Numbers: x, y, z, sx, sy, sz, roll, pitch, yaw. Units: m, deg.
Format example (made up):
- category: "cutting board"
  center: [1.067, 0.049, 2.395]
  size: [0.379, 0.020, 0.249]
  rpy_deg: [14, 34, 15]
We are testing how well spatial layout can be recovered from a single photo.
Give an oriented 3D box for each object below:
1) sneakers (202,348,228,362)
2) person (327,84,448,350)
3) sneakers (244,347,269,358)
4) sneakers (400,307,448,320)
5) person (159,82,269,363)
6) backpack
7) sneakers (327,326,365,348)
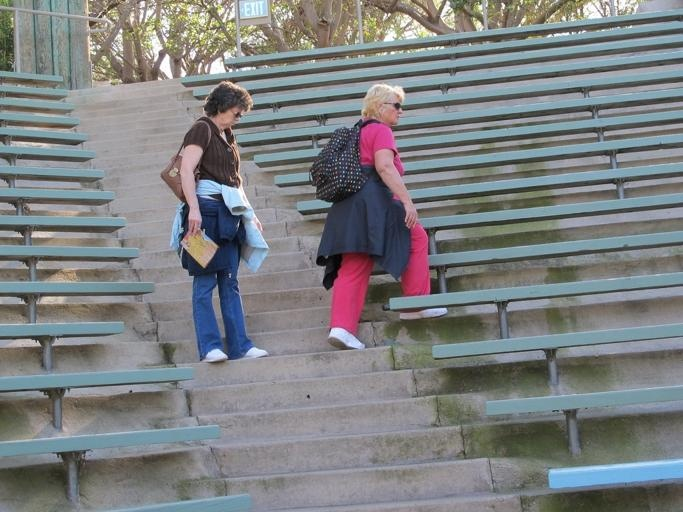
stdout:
- category: "sneakers"
  center: [-0.799, 0.621, 5.251]
  size: [0.153, 0.094, 0.080]
  rpy_deg: [-2, 10, -10]
- category: "person"
  center: [0.227, -0.260, 5.388]
  size: [0.805, 1.667, 0.573]
  rpy_deg: [-1, 11, -3]
- category: "sneakers"
  center: [-0.554, 0.614, 5.348]
  size: [0.129, 0.042, 0.060]
  rpy_deg: [-2, -2, 0]
- category: "sneakers"
  center: [0.534, 0.373, 5.503]
  size: [0.312, 0.106, 0.096]
  rpy_deg: [-6, 14, 3]
- category: "person"
  center: [-0.758, -0.231, 5.355]
  size: [0.557, 1.732, 0.565]
  rpy_deg: [-6, 12, -23]
- category: "backpack"
  center: [-0.001, -0.620, 5.519]
  size: [0.350, 0.518, 0.407]
  rpy_deg: [5, -3, -26]
- category: "sneakers"
  center: [0.025, 0.517, 5.357]
  size: [0.233, 0.152, 0.205]
  rpy_deg: [-1, 10, 0]
